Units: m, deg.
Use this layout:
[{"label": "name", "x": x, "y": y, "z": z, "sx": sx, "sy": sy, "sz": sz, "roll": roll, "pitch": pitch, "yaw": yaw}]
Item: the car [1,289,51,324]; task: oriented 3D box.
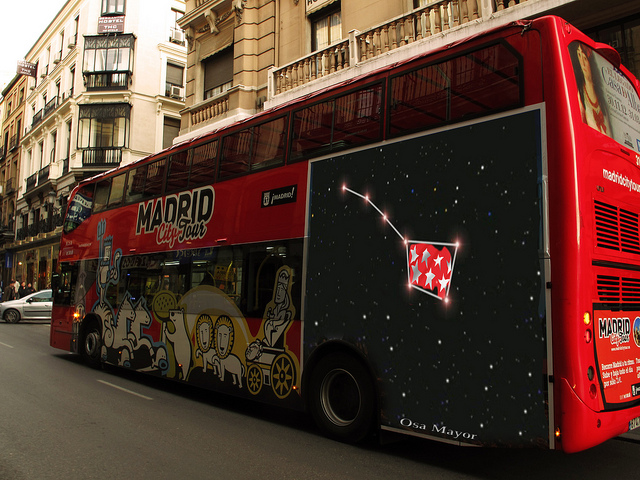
[{"label": "car", "x": -13.082, "y": 3.029, "z": 24.887, "sx": 1.542, "sy": 1.003, "sz": 1.038, "roll": 5, "pitch": -6, "yaw": -17}]

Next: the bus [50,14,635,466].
[{"label": "bus", "x": -0.870, "y": 0.211, "z": 12.320, "sx": 4.568, "sy": 7.032, "sz": 14.044, "roll": 9, "pitch": -11, "yaw": -43}]
